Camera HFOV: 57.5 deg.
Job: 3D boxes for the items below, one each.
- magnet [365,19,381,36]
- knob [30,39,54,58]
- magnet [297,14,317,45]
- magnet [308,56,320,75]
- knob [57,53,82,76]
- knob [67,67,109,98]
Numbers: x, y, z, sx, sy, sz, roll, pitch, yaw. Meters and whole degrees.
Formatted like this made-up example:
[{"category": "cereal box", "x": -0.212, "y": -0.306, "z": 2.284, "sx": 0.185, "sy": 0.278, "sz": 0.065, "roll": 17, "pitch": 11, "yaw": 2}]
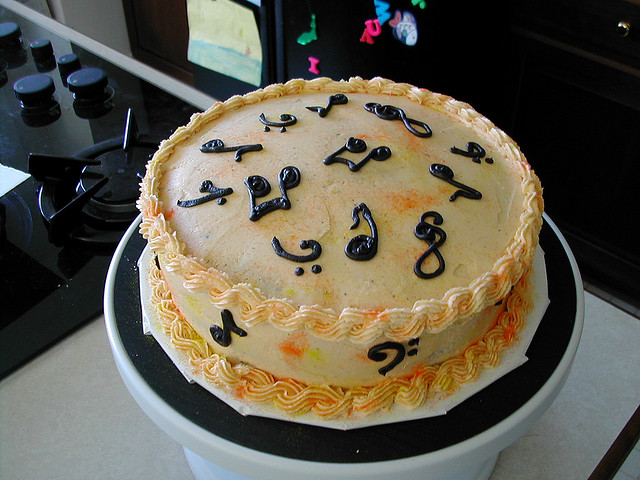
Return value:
[{"category": "magnet", "x": 0.367, "y": -1.449, "z": 3.988, "sx": 0.093, "sy": 0.100, "sz": 0.031, "roll": 6, "pitch": 30, "yaw": 35}, {"category": "knob", "x": -1.946, "y": -1.337, "z": 4.117, "sx": 0.127, "sy": 0.081, "sz": 0.131, "roll": 27, "pitch": 45, "yaw": 22}, {"category": "magnet", "x": -0.093, "y": -1.562, "z": 4.326, "sx": 0.178, "sy": 0.254, "sz": 0.033, "roll": 28, "pitch": 56, "yaw": 22}, {"category": "magnet", "x": -0.043, "y": -1.341, "z": 4.457, "sx": 0.092, "sy": 0.118, "sz": 0.026, "roll": 29, "pitch": 47, "yaw": 28}, {"category": "knob", "x": -1.703, "y": -1.204, "z": 3.986, "sx": 0.145, "sy": 0.098, "sz": 0.143, "roll": -31, "pitch": 59, "yaw": -33}, {"category": "knob", "x": -1.537, "y": -1.043, "z": 3.891, "sx": 0.248, "sy": 0.125, "sz": 0.255, "roll": -15, "pitch": 44, "yaw": -16}]
